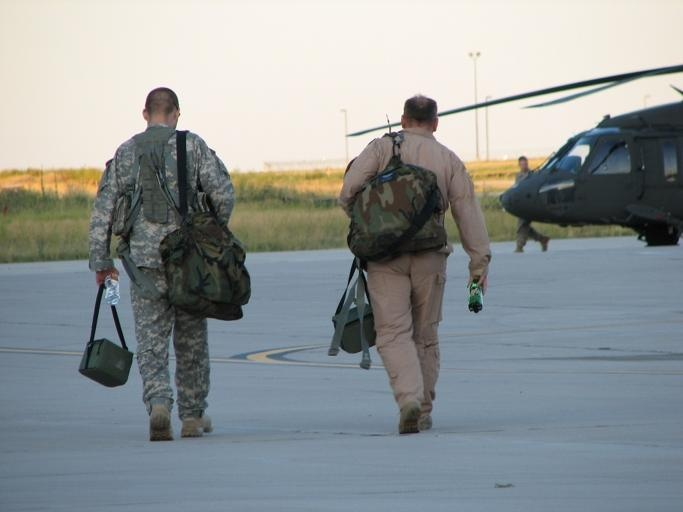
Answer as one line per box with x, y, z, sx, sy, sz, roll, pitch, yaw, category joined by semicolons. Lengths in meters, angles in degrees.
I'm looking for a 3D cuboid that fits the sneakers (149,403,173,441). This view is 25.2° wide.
-1.237;1.147;10.473;0.159;0.243;0.190;-1;10;-8;sneakers

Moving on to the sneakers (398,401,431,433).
0.502;1.142;10.556;0.114;0.151;0.324;-7;-28;2;sneakers

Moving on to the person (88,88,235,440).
-1.306;-0.025;11.002;0.993;2.652;0.828;-6;20;-16;person

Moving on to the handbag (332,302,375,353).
0.082;0.521;10.955;0.293;0.270;0.163;-22;32;-29;handbag

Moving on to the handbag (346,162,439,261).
0.352;-0.347;10.779;0.692;0.795;0.422;-8;-6;11;handbag

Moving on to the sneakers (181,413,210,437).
-1.021;1.189;10.687;0.091;0.125;0.252;2;8;17;sneakers

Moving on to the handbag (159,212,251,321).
-0.998;0.073;10.748;0.640;0.809;0.421;-5;-1;-6;handbag

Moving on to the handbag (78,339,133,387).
-1.681;0.785;10.910;0.187;0.257;0.349;-7;-30;41;handbag
